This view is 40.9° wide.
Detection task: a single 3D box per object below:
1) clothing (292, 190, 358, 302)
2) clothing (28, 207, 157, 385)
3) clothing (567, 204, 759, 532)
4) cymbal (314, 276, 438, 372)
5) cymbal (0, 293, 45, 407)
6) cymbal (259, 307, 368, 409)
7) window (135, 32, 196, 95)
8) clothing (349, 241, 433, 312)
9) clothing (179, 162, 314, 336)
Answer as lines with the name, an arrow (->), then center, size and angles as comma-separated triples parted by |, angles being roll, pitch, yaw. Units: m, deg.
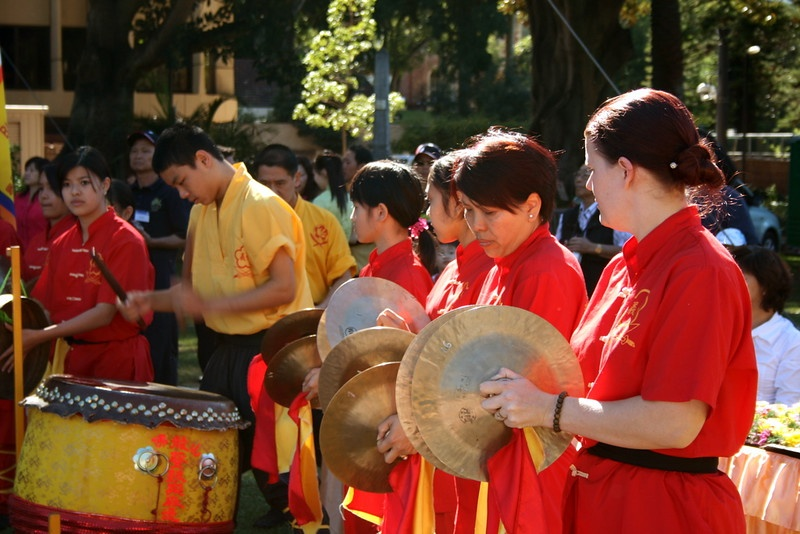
clothing -> -0.584, -0.139, 8.225 | 0.263, 0.730, 0.739 | 1, -19, -45
clothing -> -2.219, 0.192, 7.718 | 0.821, 1.250, 0.599 | 1, 2, -11
clothing -> 1.356, 0.556, 5.592 | 0.962, 1.767, 0.392 | 2, 2, 19
cymbal -> -0.184, 0.355, 6.722 | 0.887, 0.112, 0.954 | -25, -32, -26
cymbal -> -2.628, 0.572, 7.516 | 0.153, 0.658, 0.547 | -1, 10, -34
cymbal -> -0.719, 0.582, 7.002 | 0.602, 0.686, 0.162 | -3, 10, -29
window -> -2.490, -2.054, 11.328 | 0.642, 0.399, 0.307 | 2, 2, 9
clothing -> -0.055, -0.052, 7.193 | 0.351, 0.572, 0.608 | -1, 10, -22
clothing -> -1.059, -0.111, 7.348 | 0.683, 1.326, 1.235 | -1, -1, -40
